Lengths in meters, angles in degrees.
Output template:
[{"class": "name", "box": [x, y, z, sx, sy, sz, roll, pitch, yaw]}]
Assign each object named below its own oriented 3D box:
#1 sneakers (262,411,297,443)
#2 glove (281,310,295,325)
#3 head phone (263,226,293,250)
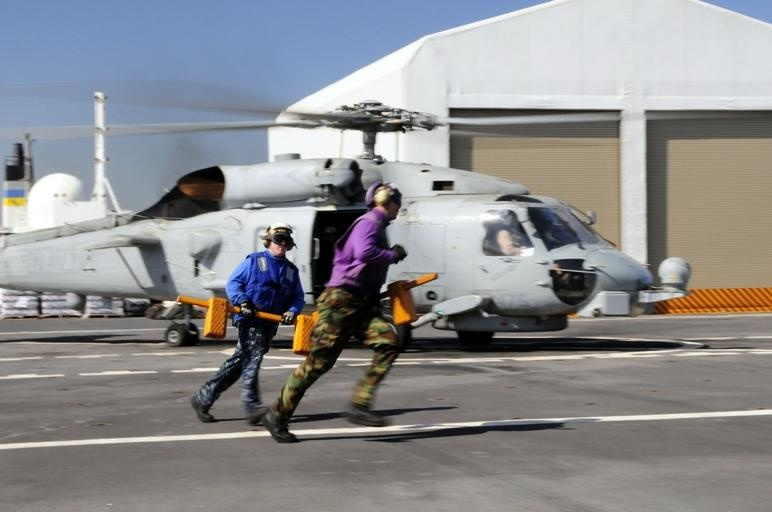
[{"class": "sneakers", "box": [-1.401, 2.234, 12.390, 0.437, 0.439, 0.199, -1, 10, -5]}, {"class": "glove", "box": [-1.354, 0.864, 12.987, 0.247, 0.157, 0.088, 2, -2, -2]}, {"class": "head phone", "box": [-1.457, -0.242, 13.196, 0.546, 0.204, 0.441, 3, -11, -18]}]
